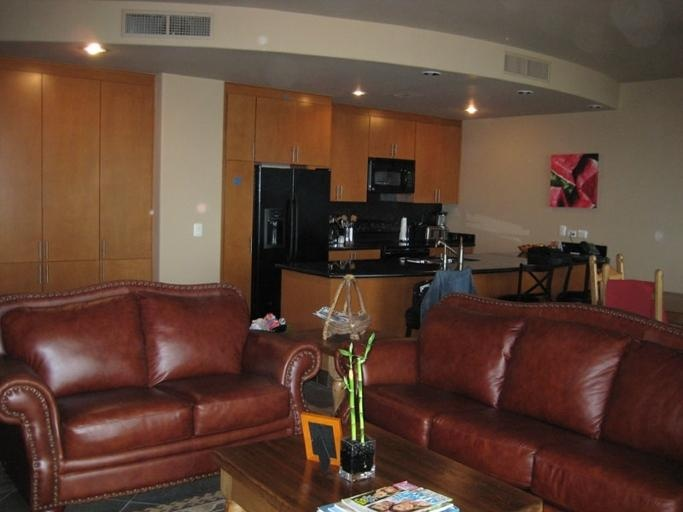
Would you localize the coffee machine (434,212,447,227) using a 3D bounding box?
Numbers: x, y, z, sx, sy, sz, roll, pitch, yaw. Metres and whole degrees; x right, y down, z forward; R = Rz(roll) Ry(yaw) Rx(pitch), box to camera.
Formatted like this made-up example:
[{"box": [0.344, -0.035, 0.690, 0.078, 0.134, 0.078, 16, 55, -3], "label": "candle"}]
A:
[{"box": [1.570, -0.580, 8.967, 0.228, 0.235, 0.202, 0, 1, 13], "label": "coffee machine"}]

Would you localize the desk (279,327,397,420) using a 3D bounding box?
[{"box": [0.022, 0.886, 4.116, 0.719, 0.739, 0.748, 3, 4, 43], "label": "desk"}]

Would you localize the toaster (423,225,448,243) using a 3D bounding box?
[{"box": [1.432, -0.332, 8.597, 0.402, 0.361, 0.389, 0, 0, -12], "label": "toaster"}]

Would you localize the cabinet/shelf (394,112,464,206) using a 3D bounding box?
[{"box": [1.251, -1.476, 8.310, 1.115, 1.696, 0.787, -2, 5, -29], "label": "cabinet/shelf"}]

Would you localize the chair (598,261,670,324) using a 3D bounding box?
[{"box": [2.429, 0.301, 4.700, 0.364, 0.686, 0.381, -8, 13, -36], "label": "chair"}]

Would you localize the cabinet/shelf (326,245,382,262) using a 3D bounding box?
[{"box": [0.171, -0.029, 7.553, 0.999, 0.157, 0.210, -4, 8, -44], "label": "cabinet/shelf"}]

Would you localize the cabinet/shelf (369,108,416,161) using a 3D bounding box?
[{"box": [0.679, -1.724, 7.933, 0.666, 0.488, 0.258, -3, 7, -33], "label": "cabinet/shelf"}]
